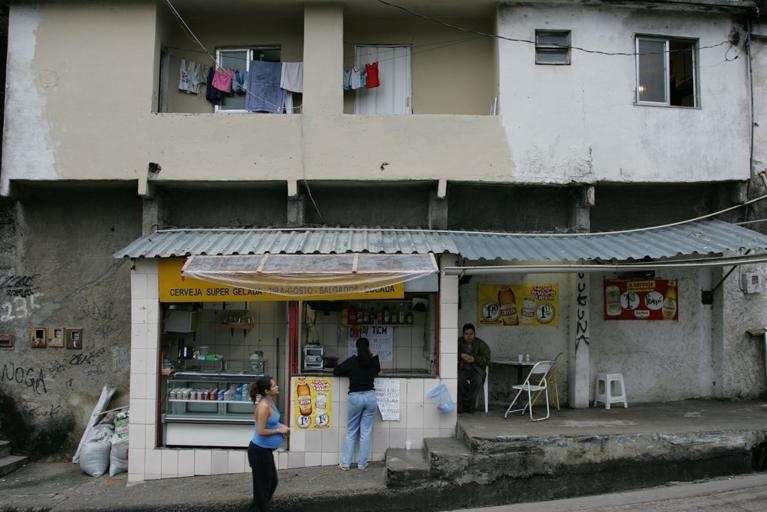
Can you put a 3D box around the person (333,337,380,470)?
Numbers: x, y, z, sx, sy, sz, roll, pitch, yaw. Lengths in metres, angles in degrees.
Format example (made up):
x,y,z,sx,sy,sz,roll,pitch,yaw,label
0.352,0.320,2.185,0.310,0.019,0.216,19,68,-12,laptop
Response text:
x,y,z,sx,sy,sz,roll,pitch,yaw,label
-0.558,3.395,22.106,0.957,2.947,0.480,-1,-4,-1,person

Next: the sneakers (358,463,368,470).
x,y,z,sx,sy,sz,roll,pitch,yaw,label
-0.466,4.814,21.993,0.257,0.149,0.214,0,-4,-15,sneakers

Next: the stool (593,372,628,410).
x,y,z,sx,sy,sz,roll,pitch,yaw,label
5.731,3.401,24.215,0.863,1.038,0.794,-1,1,-16,stool

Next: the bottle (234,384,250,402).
x,y,z,sx,sy,sz,roll,pitch,yaw,label
-3.351,3.226,22.672,0.417,0.571,0.308,1,-7,-8,bottle

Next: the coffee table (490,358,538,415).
x,y,z,sx,sy,sz,roll,pitch,yaw,label
3.308,3.168,23.896,1.167,1.231,1.134,0,-7,-1,coffee table

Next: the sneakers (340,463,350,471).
x,y,z,sx,sy,sz,roll,pitch,yaw,label
-0.900,4.831,22.000,0.261,0.112,0.089,1,-4,42,sneakers

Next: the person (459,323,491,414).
x,y,z,sx,sy,sz,roll,pitch,yaw,label
2.193,2.744,23.452,0.757,2.111,0.437,-1,-4,4,person
